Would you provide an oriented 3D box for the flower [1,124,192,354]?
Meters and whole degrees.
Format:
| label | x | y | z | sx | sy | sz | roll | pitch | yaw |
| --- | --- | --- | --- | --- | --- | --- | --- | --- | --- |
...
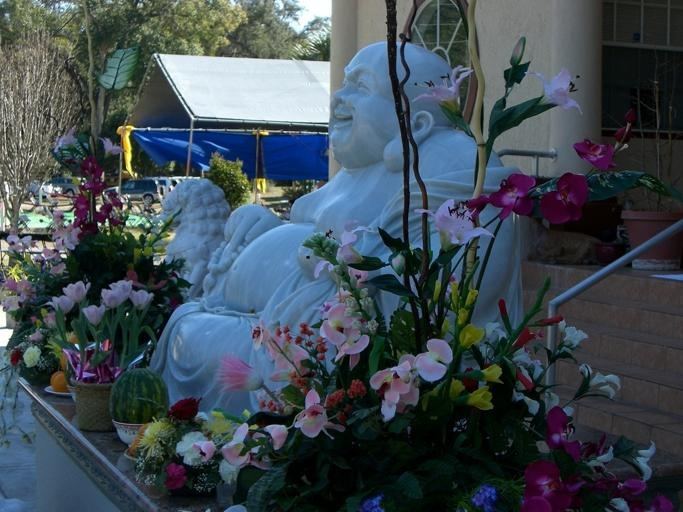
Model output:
| label | x | y | z | sx | sy | sz | roll | pitch | yaw |
| --- | --- | --- | --- | --- | --- | --- | --- | --- | --- |
| flower | -1.373 | -0.039 | 4.131 | 0.789 | 1.462 | 0.733 | -7 | 10 | -39 |

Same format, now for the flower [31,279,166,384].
| label | x | y | z | sx | sy | sz | roll | pitch | yaw |
| --- | --- | --- | --- | --- | --- | --- | --- | --- | --- |
| flower | -1.011 | 0.274 | 3.393 | 0.468 | 0.579 | 0.505 | 8 | 9 | 35 |

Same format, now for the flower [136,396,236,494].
| label | x | y | z | sx | sy | sz | roll | pitch | yaw |
| --- | --- | --- | --- | --- | --- | --- | --- | --- | --- |
| flower | -0.523 | 0.638 | 2.612 | 0.294 | 0.272 | 0.319 | -5 | 14 | -28 |

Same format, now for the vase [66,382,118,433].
| label | x | y | z | sx | sy | sz | roll | pitch | yaw |
| --- | --- | --- | --- | --- | --- | --- | --- | --- | --- |
| vase | -1.011 | 0.601 | 3.182 | 0.173 | 0.225 | 0.164 | 6 | 10 | 39 |

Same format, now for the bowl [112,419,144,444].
| label | x | y | z | sx | sy | sz | roll | pitch | yaw |
| --- | --- | --- | --- | --- | --- | --- | --- | --- | --- |
| bowl | -0.811 | 0.662 | 2.950 | 0.103 | 0.091 | 0.112 | 6 | 1 | 0 |

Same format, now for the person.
| label | x | y | z | sx | sy | sz | roll | pitch | yaw |
| --- | --- | --- | --- | --- | --- | --- | --- | --- | --- |
| person | -0.107 | -0.124 | 3.271 | 0.875 | 1.961 | 1.264 | -4 | 9 | -24 |
